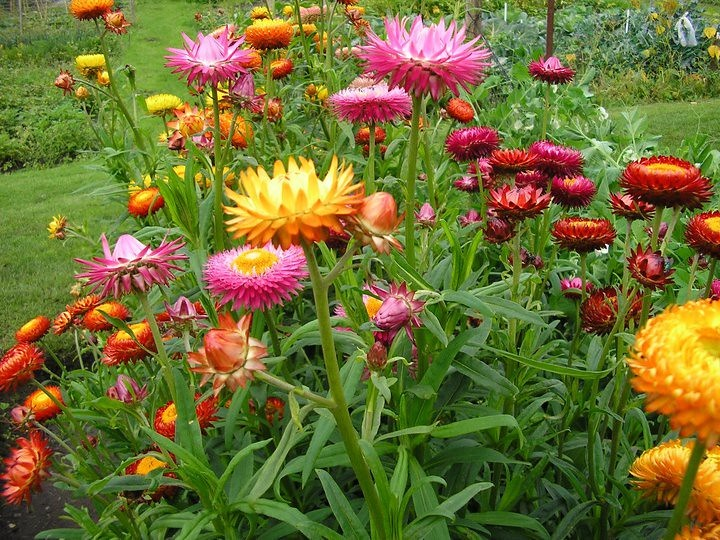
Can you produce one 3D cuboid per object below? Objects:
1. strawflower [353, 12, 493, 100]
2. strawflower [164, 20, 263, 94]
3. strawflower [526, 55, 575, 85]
[{"bbox_3d":[0.222,-0.760,2.344,0.380,0.212,0.432,2,3,12],"label":"strawflower"},{"bbox_3d":[-0.635,-0.917,2.891,0.281,0.148,0.290,13,18,24],"label":"strawflower"},{"bbox_3d":[0.941,-0.981,3.408,0.186,0.128,0.197,22,26,6],"label":"strawflower"}]
